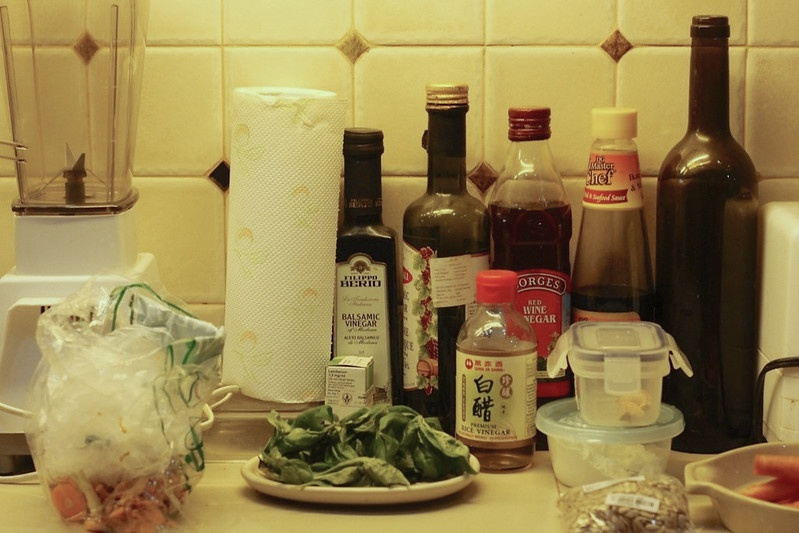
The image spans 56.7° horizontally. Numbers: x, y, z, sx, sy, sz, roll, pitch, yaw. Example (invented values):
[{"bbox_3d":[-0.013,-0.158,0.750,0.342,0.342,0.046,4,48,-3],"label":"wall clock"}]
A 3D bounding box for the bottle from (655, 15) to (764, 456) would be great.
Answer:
[{"bbox_3d":[0.413,-0.038,0.995,0.128,0.586,0.084,-1,9,16],"label":"bottle"}]

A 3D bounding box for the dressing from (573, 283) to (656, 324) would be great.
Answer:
[{"bbox_3d":[0.298,0.043,1.017,0.070,0.068,0.067,1,3,6],"label":"dressing"}]

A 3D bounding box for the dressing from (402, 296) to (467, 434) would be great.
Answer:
[{"bbox_3d":[0.045,0.095,1.029,0.072,0.299,0.062,5,30,14],"label":"dressing"}]

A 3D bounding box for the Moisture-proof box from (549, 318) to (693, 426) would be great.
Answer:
[{"bbox_3d":[0.272,0.111,0.905,0.145,0.073,0.139,0,5,0],"label":"Moisture-proof box"}]

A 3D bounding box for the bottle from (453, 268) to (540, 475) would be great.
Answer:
[{"bbox_3d":[0.128,0.136,0.982,0.108,0.266,0.100,-3,8,0],"label":"bottle"}]

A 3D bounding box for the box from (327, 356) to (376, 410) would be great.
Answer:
[{"bbox_3d":[-0.065,0.169,1.009,0.070,0.093,0.064,1,14,-11],"label":"box"}]

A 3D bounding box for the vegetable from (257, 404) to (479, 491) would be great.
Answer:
[{"bbox_3d":[-0.045,0.222,0.906,0.174,0.050,0.121,3,14,-5],"label":"vegetable"}]

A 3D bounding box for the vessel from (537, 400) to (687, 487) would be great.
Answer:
[{"bbox_3d":[0.288,0.215,0.961,0.156,0.068,0.154,-4,10,6],"label":"vessel"}]
